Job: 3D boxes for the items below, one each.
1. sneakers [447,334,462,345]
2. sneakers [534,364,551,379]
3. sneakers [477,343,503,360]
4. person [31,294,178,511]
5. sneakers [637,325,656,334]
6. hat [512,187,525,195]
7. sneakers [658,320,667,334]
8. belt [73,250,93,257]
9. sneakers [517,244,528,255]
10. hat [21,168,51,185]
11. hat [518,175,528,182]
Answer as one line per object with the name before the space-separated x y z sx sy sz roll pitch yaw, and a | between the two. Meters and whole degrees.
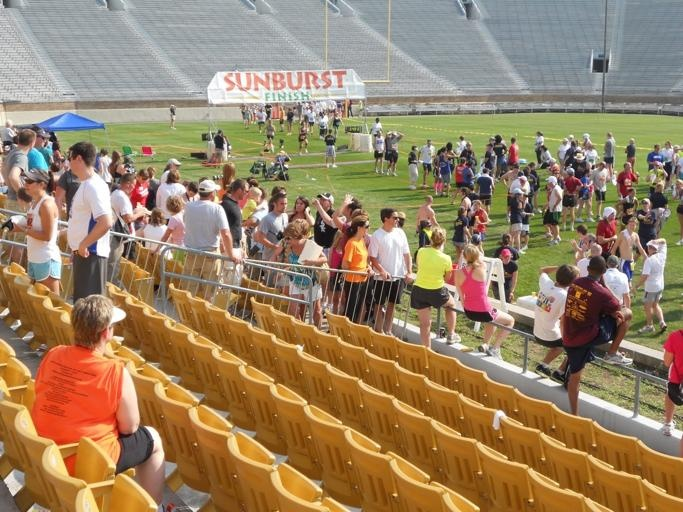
sneakers | 1.639 1.184 10.364 0.090 0.118 0.234 8 16 39
sneakers | 2.779 1.555 9.772 0.327 0.147 0.112 29 -2 -36
sneakers | 2.130 1.324 10.115 0.389 0.190 0.157 28 -9 -22
person | -1.908 1.196 5.731 0.924 1.814 1.173 18 21 21
sneakers | 5.305 1.269 12.468 0.307 0.158 0.131 2 9 33
hat | 4.435 -1.629 18.013 0.334 0.136 0.247 -2 8 4
sneakers | 5.594 1.239 12.487 0.104 0.145 0.301 -2 -33 9
belt | -2.794 -0.016 7.692 0.131 0.055 0.106 22 13 15
sneakers | 4.404 -0.148 17.357 0.170 0.223 0.529 9 19 33
hat | -3.793 -0.994 8.904 0.328 0.207 0.495 0 11 -25
hat | 4.754 -2.012 18.684 0.194 0.069 0.194 4 10 -36
